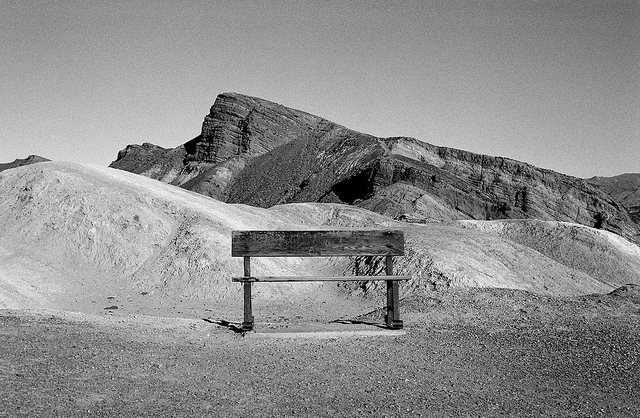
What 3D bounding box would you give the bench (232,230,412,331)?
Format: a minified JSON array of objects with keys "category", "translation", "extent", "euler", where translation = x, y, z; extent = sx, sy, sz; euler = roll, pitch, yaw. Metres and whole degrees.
[{"category":"bench","translation":[-0.030,1.571,11.230],"extent":[3.992,2.240,1.497],"euler":[0,2,-7]}]
